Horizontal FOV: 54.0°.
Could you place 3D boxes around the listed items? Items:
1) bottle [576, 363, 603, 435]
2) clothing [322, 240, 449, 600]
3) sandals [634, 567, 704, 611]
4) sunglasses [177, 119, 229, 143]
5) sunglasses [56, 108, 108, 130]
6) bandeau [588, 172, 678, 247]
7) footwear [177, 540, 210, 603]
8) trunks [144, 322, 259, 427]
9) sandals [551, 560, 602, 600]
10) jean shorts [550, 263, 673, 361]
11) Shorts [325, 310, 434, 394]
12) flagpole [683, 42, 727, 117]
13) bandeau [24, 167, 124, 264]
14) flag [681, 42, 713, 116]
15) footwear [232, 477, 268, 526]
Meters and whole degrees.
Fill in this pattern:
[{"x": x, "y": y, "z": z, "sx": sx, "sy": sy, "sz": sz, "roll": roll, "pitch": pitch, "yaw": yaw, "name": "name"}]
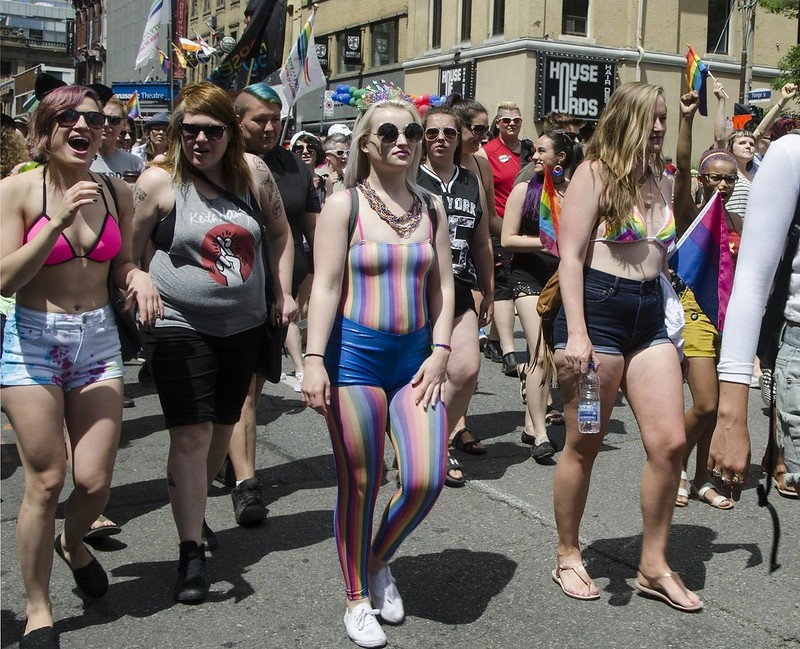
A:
[{"x": 0.851, "y": 0.336, "z": 3.510, "sx": 0.104, "sy": 0.320, "sz": 0.074, "roll": 2, "pitch": 8, "yaw": 10, "name": "bottle"}, {"x": -0.062, "y": 0.405, "z": 3.312, "sx": 0.499, "sy": 1.481, "sz": 0.385, "roll": -1, "pitch": 8, "yaw": -6, "name": "clothing"}, {"x": 1.228, "y": 1.193, "z": 3.591, "sx": 0.280, "sy": 0.141, "sz": 0.134, "roll": 14, "pitch": 23, "yaw": 40, "name": "sandals"}, {"x": -0.937, "y": -0.911, "z": 3.745, "sx": 0.207, "sy": 0.084, "sz": 0.091, "roll": -2, "pitch": 8, "yaw": -17, "name": "sunglasses"}, {"x": -1.318, "y": -0.857, "z": 3.319, "sx": 0.112, "sy": 0.073, "sz": 0.237, "roll": 4, "pitch": 9, "yaw": 25, "name": "sunglasses"}, {"x": 1.089, "y": -0.526, "z": 3.619, "sx": 0.340, "sy": 0.327, "sz": 0.184, "roll": -3, "pitch": 13, "yaw": -29, "name": "bandeau"}, {"x": -0.967, "y": 1.137, "z": 3.612, "sx": 0.135, "sy": 0.229, "sz": 0.202, "roll": -2, "pitch": 8, "yaw": -17, "name": "footwear"}, {"x": -0.929, "y": 0.218, "z": 3.992, "sx": 0.632, "sy": 0.705, "sz": 0.435, "roll": -1, "pitch": -1, "yaw": -40, "name": "trunks"}, {"x": 0.820, "y": 1.190, "z": 3.701, "sx": 0.099, "sy": 0.090, "sz": 0.214, "roll": -4, "pitch": 8, "yaw": -25, "name": "sandals"}, {"x": 0.973, "y": -0.011, "z": 3.620, "sx": 0.514, "sy": 0.428, "sz": 0.368, "roll": 3, "pitch": -7, "yaw": -25, "name": "jean shorts"}, {"x": -0.078, "y": 0.158, "z": 3.449, "sx": 0.486, "sy": 0.383, "sz": 0.321, "roll": 0, "pitch": 2, "yaw": -26, "name": "Shorts"}, {"x": 4.019, "y": -3.259, "z": 10.577, "sx": 0.399, "sy": 1.291, "sz": 0.122, "roll": 21, "pitch": -35, "yaw": -2, "name": "flagpole"}, {"x": -1.402, "y": -0.455, "z": 3.388, "sx": 0.403, "sy": 0.430, "sz": 0.230, "roll": -6, "pitch": 0, "yaw": -32, "name": "bandeau"}, {"x": 4.069, "y": -3.356, "z": 10.820, "sx": 0.271, "sy": 1.212, "sz": 0.118, "roll": -6, "pitch": -20, "yaw": 17, "name": "flag"}, {"x": -0.879, "y": 1.025, "z": 4.525, "sx": 0.118, "sy": 0.163, "sz": 0.339, "roll": -3, "pitch": 3, "yaw": -14, "name": "footwear"}]
